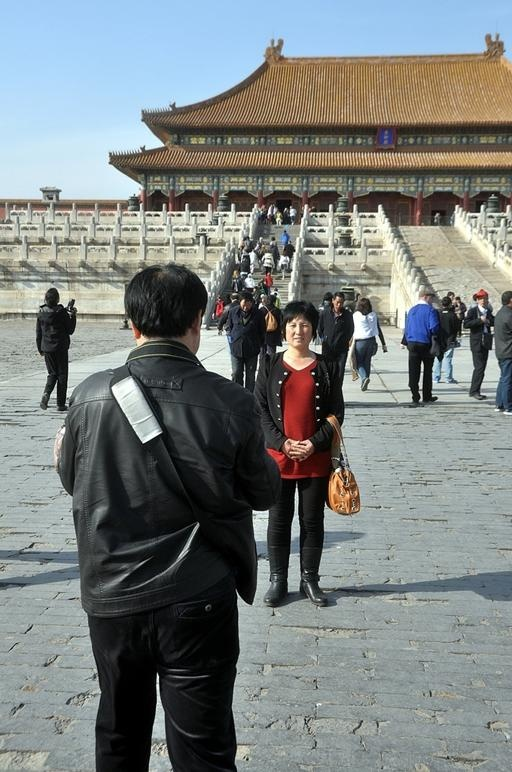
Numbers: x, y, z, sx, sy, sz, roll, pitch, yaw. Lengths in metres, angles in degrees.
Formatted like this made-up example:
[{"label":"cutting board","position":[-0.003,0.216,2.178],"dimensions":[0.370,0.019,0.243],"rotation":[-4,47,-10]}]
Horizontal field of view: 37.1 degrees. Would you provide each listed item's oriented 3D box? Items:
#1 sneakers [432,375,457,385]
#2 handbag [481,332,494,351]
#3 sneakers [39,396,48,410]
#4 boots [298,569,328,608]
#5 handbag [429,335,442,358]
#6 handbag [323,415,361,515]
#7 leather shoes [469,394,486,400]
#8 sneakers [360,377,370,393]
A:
[{"label":"sneakers","position":[3.128,-0.114,12.591],"dimensions":[0.447,0.164,0.148],"rotation":[2,2,11]},{"label":"handbag","position":[3.197,-0.632,10.570],"dimensions":[0.216,0.205,0.060],"rotation":[-2,-16,42]},{"label":"sneakers","position":[-2.519,0.186,9.107],"dimensions":[0.079,0.180,0.269],"rotation":[-1,7,-16]},{"label":"boots","position":[0.268,0.922,3.536],"dimensions":[0.088,0.139,0.214],"rotation":[-1,7,-18]},{"label":"handbag","position":[2.377,-0.534,10.008],"dimensions":[0.123,0.267,0.238],"rotation":[4,7,26]},{"label":"handbag","position":[0.395,0.376,3.479],"dimensions":[0.146,0.484,0.325],"rotation":[1,7,5]},{"label":"leather shoes","position":[3.126,0.131,10.627],"dimensions":[0.337,0.071,0.171],"rotation":[-4,8,-38]},{"label":"sneakers","position":[1.572,-0.024,11.102],"dimensions":[0.104,0.229,0.099],"rotation":[-12,36,-31]}]
